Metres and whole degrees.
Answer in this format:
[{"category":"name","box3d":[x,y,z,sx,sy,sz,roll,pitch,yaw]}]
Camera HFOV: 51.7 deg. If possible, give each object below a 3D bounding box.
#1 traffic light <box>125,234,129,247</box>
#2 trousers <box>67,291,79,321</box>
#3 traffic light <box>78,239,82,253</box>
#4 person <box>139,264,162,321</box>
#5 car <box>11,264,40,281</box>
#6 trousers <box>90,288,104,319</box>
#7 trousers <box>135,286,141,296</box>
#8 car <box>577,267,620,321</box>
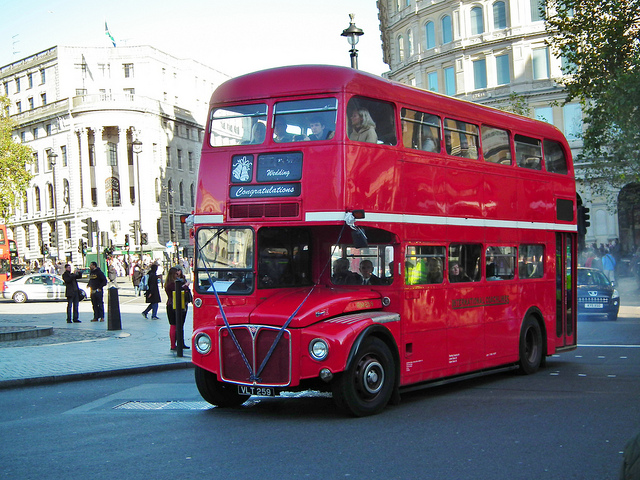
[{"category":"traffic light","box3d":[-16.165,-0.009,55.379,0.189,0.892,1.418,-1,-1,-24]},{"category":"trousers","box3d":[-8.933,2.314,23.894,0.354,0.949,0.619,-1,0,-22]},{"category":"traffic light","box3d":[-17.695,0.373,48.989,0.167,0.856,1.912,-1,-1,-19]},{"category":"person","box3d":[-6.003,1.781,23.493,0.564,1.598,0.506,11,-10,12]},{"category":"car","box3d":[-20.698,2.140,46.447,1.685,1.098,0.877,-2,3,9]},{"category":"trousers","box3d":[-8.228,2.296,24.428,0.398,1.016,0.672,-1,0,-22]},{"category":"trousers","box3d":[-10.942,2.922,39.755,0.331,0.516,2.701,-1,-1,-16]},{"category":"car","box3d":[9.653,1.913,23.895,1.779,1.899,3.686,-3,-7,18]}]
